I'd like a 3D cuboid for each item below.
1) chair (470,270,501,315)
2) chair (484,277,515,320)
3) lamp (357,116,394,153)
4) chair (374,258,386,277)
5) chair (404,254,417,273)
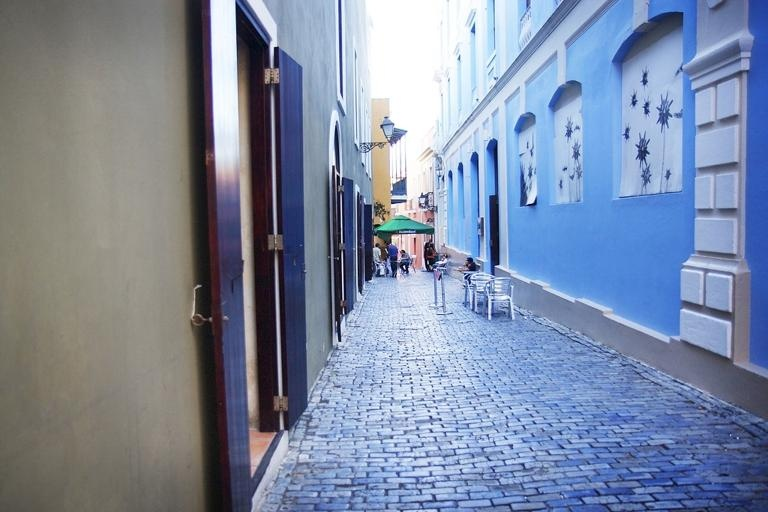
[{"bbox_3d":[2.160,0.630,12.867,0.641,0.906,0.617,19,-17,-36],"label":"chair"},{"bbox_3d":[2.408,0.792,12.553,0.535,0.811,0.603,3,-7,9],"label":"chair"},{"bbox_3d":[-0.238,-3.627,18.269,1.074,1.264,0.429,2,-23,5],"label":"lamp"},{"bbox_3d":[-0.271,0.576,27.444,0.531,1.140,0.601,-3,0,18],"label":"chair"},{"bbox_3d":[1.203,0.359,28.243,0.440,0.607,0.976,1,8,8],"label":"chair"}]
